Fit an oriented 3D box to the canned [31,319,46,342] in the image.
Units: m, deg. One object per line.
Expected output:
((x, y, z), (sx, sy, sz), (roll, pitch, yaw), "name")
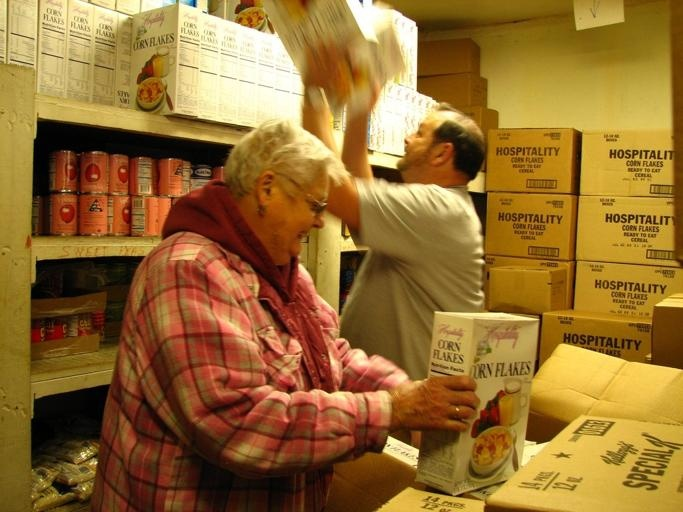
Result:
((-1.043, 0.257, 1.812), (0.063, 0.064, 0.062), (5, -9, -36), "canned")

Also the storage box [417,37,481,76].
((0.781, -1.454, 3.890), (0.570, 0.275, 0.270), (-1, 4, 8), "storage box")

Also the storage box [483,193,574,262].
((1.245, -0.206, 3.532), (0.482, 0.441, 0.334), (4, 8, 27), "storage box")

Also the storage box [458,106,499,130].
((1.019, -1.000, 3.899), (0.273, 0.167, 0.271), (-1, 5, -35), "storage box")

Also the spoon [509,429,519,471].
((0.405, 0.465, 1.249), (0.016, 0.111, 0.016), (-4, 9, 11), "spoon")

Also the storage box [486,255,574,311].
((1.136, 0.182, 3.236), (0.431, 0.263, 0.419), (1, 0, 28), "storage box")

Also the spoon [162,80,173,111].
((-0.613, -0.561, 1.880), (0.021, 0.120, 0.012), (-6, 13, 19), "spoon")

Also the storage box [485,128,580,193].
((1.267, -0.645, 3.518), (0.521, 0.483, 0.328), (3, 11, 22), "storage box")
